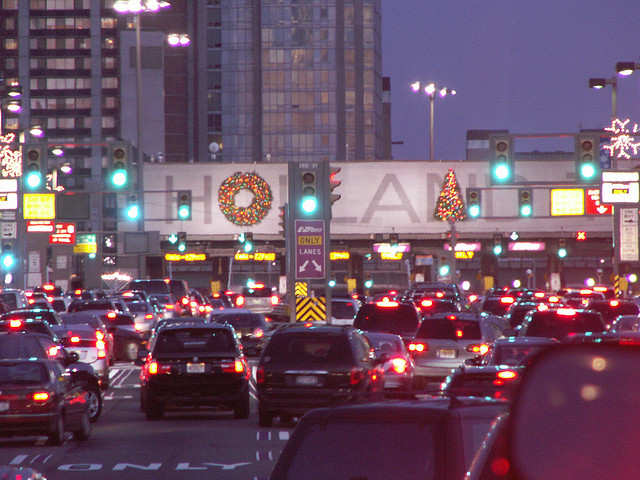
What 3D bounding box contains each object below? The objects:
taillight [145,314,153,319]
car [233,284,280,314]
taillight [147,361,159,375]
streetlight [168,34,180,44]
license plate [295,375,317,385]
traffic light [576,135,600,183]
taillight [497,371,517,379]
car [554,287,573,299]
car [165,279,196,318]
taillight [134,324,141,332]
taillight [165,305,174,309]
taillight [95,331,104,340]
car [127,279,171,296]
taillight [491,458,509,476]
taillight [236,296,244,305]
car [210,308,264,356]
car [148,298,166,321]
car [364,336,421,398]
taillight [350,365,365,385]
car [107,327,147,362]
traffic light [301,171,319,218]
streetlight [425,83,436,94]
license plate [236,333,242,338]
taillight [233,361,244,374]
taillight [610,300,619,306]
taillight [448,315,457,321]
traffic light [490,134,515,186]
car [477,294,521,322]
[{"bbox_3d":[-6.620,2.937,54.305,0.144,0.143,0.465,1,5,31],"label":"taillight"},{"bbox_3d":[-3.082,3.037,68.617,2.086,1.928,3.622,0,1,-3],"label":"car"},{"bbox_3d":[-3.864,2.970,32.659,0.200,0.294,0.067,1,-3,3],"label":"taillight"},{"bbox_3d":[-6.335,-8.857,61.140,0.415,0.421,1.123,-1,4,-6],"label":"streetlight"},{"bbox_3d":[-0.298,3.070,30.833,0.383,0.209,0.089,1,-11,2],"label":"license plate"},{"bbox_3d":[8.244,-2.477,42.849,0.670,1.552,0.806,-11,-14,40],"label":"traffic light"},{"bbox_3d":[3.474,2.462,25.536,0.376,0.141,0.255,3,5,43],"label":"taillight"},{"bbox_3d":[12.791,2.710,73.671,1.326,0.645,2.080,0,-4,0],"label":"car"},{"bbox_3d":[-7.059,2.932,71.737,1.481,1.383,2.804,0,2,2],"label":"car"},{"bbox_3d":[-6.435,3.097,49.665,0.273,0.289,0.129,3,-3,-33],"label":"taillight"},{"bbox_3d":[-6.694,2.957,62.614,0.290,0.163,0.516,2,5,33],"label":"taillight"},{"bbox_3d":[-6.409,2.772,40.955,0.274,0.286,0.067,7,-25,-42],"label":"taillight"},{"bbox_3d":[-8.188,2.242,67.966,1.865,0.650,0.893,-2,4,-14],"label":"car"},{"bbox_3d":[2.332,2.916,17.970,0.103,0.241,0.328,-3,5,-27],"label":"taillight"},{"bbox_3d":[-3.761,2.809,66.231,0.243,0.395,0.765,0,4,9],"label":"taillight"},{"bbox_3d":[-2.479,2.794,45.074,1.106,1.028,2.092,0,-6,0],"label":"car"},{"bbox_3d":[-6.861,2.880,59.739,0.991,0.878,1.660,1,-5,-14],"label":"car"},{"bbox_3d":[1.638,2.942,32.464,1.327,1.154,3.324,-1,4,5],"label":"car"},{"bbox_3d":[0.837,2.920,30.598,0.396,0.410,0.116,-3,5,-31],"label":"taillight"},{"bbox_3d":[-6.461,3.532,47.296,1.004,0.919,1.732,1,4,13],"label":"car"},{"bbox_3d":[-0.266,-1.346,38.361,0.505,1.130,0.403,-2,4,-14],"label":"traffic light"},{"bbox_3d":[6.616,-9.143,83.721,0.543,0.558,0.935,-1,4,2],"label":"streetlight"},{"bbox_3d":[-2.540,3.031,44.796,0.046,0.189,0.195,-15,-11,43],"label":"license plate"},{"bbox_3d":[-1.884,2.954,32.656,0.265,0.280,0.151,-5,6,-43],"label":"taillight"},{"bbox_3d":[10.316,2.187,49.016,0.307,0.148,0.302,-3,4,-23],"label":"taillight"},{"bbox_3d":[3.566,2.074,37.693,0.126,0.135,0.034,0,-15,1],"label":"taillight"},{"bbox_3d":[5.486,-2.456,42.277,0.681,1.516,0.718,0,4,9],"label":"traffic light"},{"bbox_3d":[7.210,2.566,56.299,1.104,0.985,1.996,-1,-9,9],"label":"car"}]
